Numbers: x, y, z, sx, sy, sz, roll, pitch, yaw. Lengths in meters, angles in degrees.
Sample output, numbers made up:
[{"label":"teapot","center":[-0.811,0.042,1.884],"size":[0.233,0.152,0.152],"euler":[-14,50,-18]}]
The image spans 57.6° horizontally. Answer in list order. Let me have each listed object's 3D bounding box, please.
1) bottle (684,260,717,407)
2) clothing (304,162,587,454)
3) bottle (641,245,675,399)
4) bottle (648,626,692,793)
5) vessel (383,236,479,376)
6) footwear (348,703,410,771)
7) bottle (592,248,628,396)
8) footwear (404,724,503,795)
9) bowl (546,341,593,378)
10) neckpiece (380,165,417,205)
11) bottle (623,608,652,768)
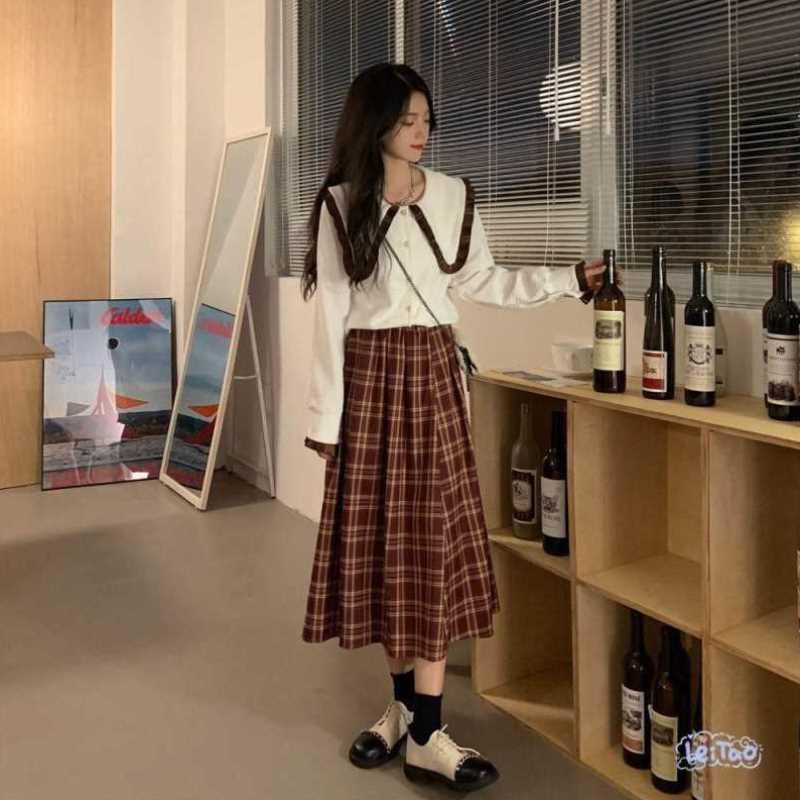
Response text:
[{"label":"bottle","center":[0.690,-0.151,1.678],"size":[0.065,0.328,0.111],"euler":[3,8,26]},{"label":"clothing","center":[0.150,-0.248,2.051],"size":[0.759,0.944,0.210],"euler":[-3,5,-24]},{"label":"bottle","center":[0.628,-0.187,1.767],"size":[0.070,0.361,0.065],"euler":[0,7,0]},{"label":"bottle","center":[0.697,0.772,1.865],"size":[0.123,0.437,0.081],"euler":[-3,8,-22]},{"label":"vessel","center":[0.071,-0.249,1.896],"size":[0.038,0.385,0.040],"euler":[-25,-1,-9]},{"label":"footwear","center":[-0.044,0.948,2.131],"size":[0.083,0.140,0.276],"euler":[3,-1,23]},{"label":"bottle","center":[0.527,-0.194,1.838],"size":[0.077,0.360,0.080],"euler":[0,7,0]},{"label":"footwear","center":[0.146,0.966,2.031],"size":[0.249,0.184,0.125],"euler":[-2,0,31]},{"label":"bowl","center":[0.516,-0.133,2.190],"size":[0.080,0.090,0.108],"euler":[4,10,14]},{"label":"neckpiece","center":[0.007,-0.533,1.873],"size":[0.076,0.105,0.027],"euler":[-4,-10,-14]},{"label":"bottle","center":[0.631,0.757,1.953],"size":[0.073,0.455,0.097],"euler":[-2,7,-11]}]
